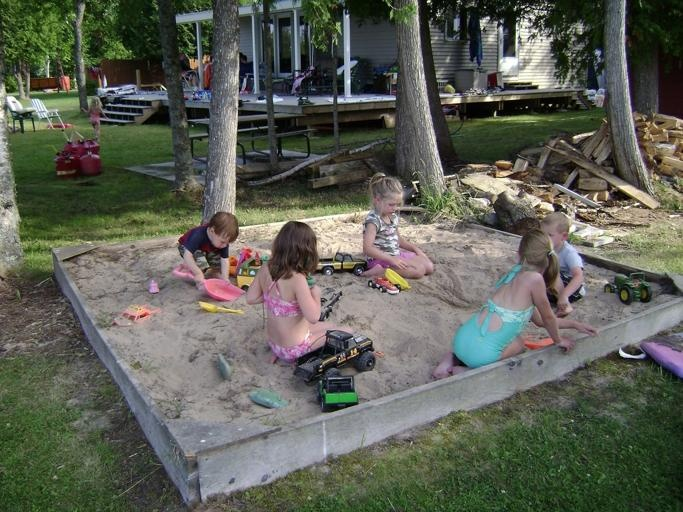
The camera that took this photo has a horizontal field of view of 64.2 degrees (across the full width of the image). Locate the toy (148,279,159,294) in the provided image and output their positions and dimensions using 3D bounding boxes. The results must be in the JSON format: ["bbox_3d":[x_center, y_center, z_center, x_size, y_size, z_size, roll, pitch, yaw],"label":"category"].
[{"bbox_3d":[-1.966,0.330,5.706,0.085,0.091,0.085,-22,43,-29],"label":"toy"}]

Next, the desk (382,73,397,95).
[{"bbox_3d":[1.843,-6.448,20.237,0.399,0.792,0.733,-2,17,-3],"label":"desk"}]

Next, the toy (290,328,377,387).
[{"bbox_3d":[-0.035,0.800,4.454,0.632,0.345,0.347,-22,29,-32],"label":"toy"}]

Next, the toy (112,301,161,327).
[{"bbox_3d":[-1.976,0.558,5.214,0.197,0.083,0.275,5,12,37],"label":"toy"}]

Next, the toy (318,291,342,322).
[{"bbox_3d":[-0.086,0.499,5.131,0.256,0.079,0.206,-44,28,-12],"label":"toy"}]

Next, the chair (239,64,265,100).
[{"bbox_3d":[-3.781,-7.570,23.141,1.065,1.312,3.523,-4,17,-8],"label":"chair"}]

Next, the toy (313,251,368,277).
[{"bbox_3d":[0.016,0.072,6.227,0.439,0.196,0.283,-4,17,-7],"label":"toy"}]

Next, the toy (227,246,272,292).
[{"bbox_3d":[-1.016,0.120,5.932,0.405,0.217,0.501,-2,27,-5],"label":"toy"}]

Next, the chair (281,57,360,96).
[{"bbox_3d":[-0.359,-6.825,21.089,4.036,1.561,1.446,-8,23,-20],"label":"chair"}]

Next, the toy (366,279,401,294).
[{"bbox_3d":[0.460,0.327,5.784,0.240,0.082,0.180,18,15,24],"label":"toy"}]

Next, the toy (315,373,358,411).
[{"bbox_3d":[-0.031,1.010,4.086,0.202,0.212,0.316,-4,8,-10],"label":"toy"}]

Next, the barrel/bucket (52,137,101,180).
[{"bbox_3d":[-6.002,-2.242,12.470,1.074,1.048,0.843,-12,24,-36],"label":"barrel/bucket"}]

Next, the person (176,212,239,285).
[{"bbox_3d":[-1.365,-0.081,5.596,0.503,0.840,0.729,-7,18,-20],"label":"person"}]

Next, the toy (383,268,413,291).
[{"bbox_3d":[0.603,0.255,5.849,0.276,0.083,0.168,41,55,20],"label":"toy"}]

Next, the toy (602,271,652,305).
[{"bbox_3d":[3.083,0.357,5.882,0.277,0.311,0.483,-5,24,-13],"label":"toy"}]

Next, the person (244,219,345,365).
[{"bbox_3d":[-0.394,0.301,4.516,0.651,1.214,0.487,9,20,29],"label":"person"}]

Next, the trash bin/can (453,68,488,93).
[{"bbox_3d":[5.429,-7.302,22.502,1.329,0.907,1.079,-4,17,-8],"label":"trash bin/can"}]
